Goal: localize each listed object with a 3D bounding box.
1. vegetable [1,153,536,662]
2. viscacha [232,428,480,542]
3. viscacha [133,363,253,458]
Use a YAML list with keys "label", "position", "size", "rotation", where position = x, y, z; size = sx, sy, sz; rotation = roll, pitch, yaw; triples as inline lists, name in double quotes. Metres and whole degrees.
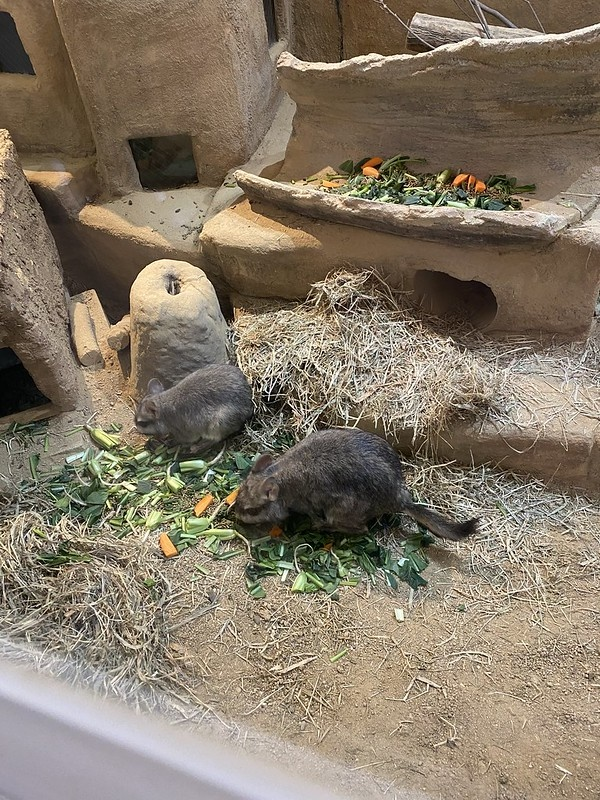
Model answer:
- label: "vegetable"
  position: [-0.343, 0.403, 3.071]
  size: [1.999, 0.373, 1.427]
  rotation: [-33, 49, -22]
- label: "viscacha"
  position: [0.224, 0.397, 2.918]
  size: [1.118, 0.414, 0.350]
  rotation: [1, 20, 4]
- label: "viscacha"
  position: [-0.508, 0.048, 3.324]
  size: [0.669, 0.403, 0.345]
  rotation: [-12, 36, -16]
